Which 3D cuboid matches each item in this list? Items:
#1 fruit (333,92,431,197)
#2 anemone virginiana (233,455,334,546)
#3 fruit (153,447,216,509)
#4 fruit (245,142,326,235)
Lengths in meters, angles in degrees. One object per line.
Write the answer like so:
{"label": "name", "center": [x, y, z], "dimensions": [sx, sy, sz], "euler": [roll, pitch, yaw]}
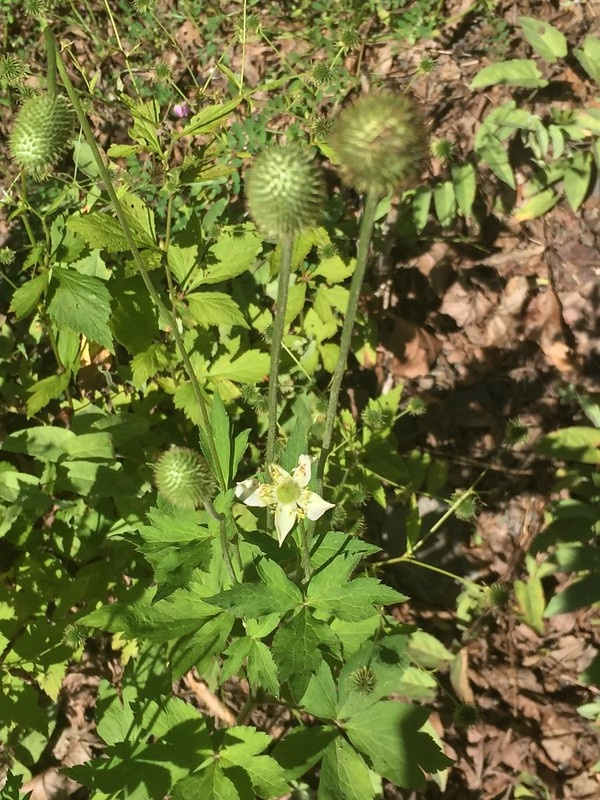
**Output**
{"label": "fruit", "center": [0.226, -0.696, 1.949], "dimensions": [0.295, 0.277, 0.185], "euler": [-2, 5, -2]}
{"label": "anemone virginiana", "center": [-0.060, 0.328, 2.330], "dimensions": [0.266, 0.326, 0.330], "euler": [-15, 55, -6]}
{"label": "fruit", "center": [-0.377, 0.246, 2.321], "dimensions": [0.185, 0.198, 0.208], "euler": [-6, 16, 0]}
{"label": "fruit", "center": [-0.044, -0.617, 2.077], "dimensions": [0.231, 0.282, 0.199], "euler": [-4, 24, -5]}
